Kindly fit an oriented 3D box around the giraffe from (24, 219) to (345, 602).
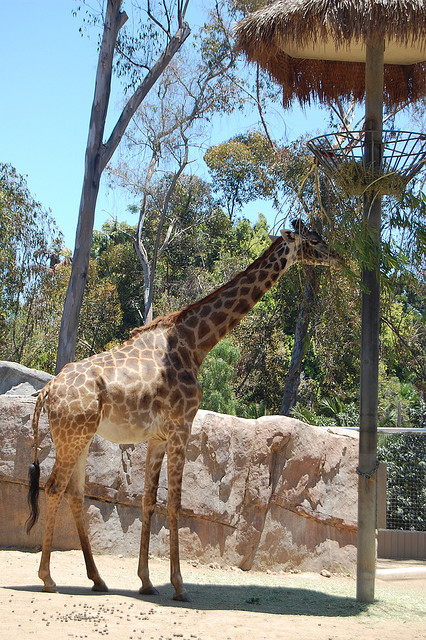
[{"bbox_3d":[-0.389,0.654,7.438,2.189,3.149,0.825,5,-4,-16],"label":"giraffe"}]
